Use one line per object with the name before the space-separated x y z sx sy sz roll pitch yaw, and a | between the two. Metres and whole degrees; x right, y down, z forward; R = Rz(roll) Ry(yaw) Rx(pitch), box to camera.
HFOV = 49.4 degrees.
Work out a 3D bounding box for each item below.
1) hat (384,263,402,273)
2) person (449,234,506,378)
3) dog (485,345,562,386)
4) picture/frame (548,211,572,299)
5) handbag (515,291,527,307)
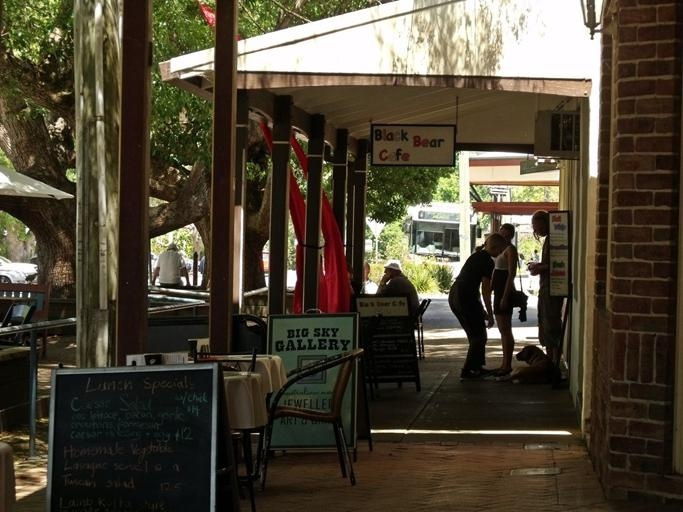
hat | 0.797 0.169 11.298 0.147 0.076 0.168 21 0 -10
person | 1.944 0.728 10.712 0.669 2.089 0.862 0 1 31
dog | 2.558 1.529 10.320 0.976 0.506 0.587 0 1 28
picture/frame | 2.844 -0.023 9.704 0.289 1.099 0.276 0 1 27
handbag | 2.627 0.651 10.938 0.140 0.208 0.197 7 -42 -3
